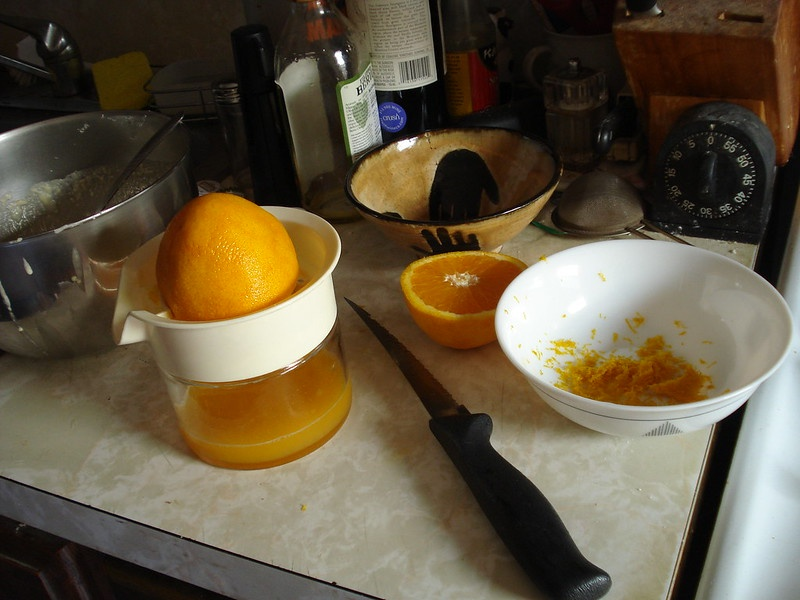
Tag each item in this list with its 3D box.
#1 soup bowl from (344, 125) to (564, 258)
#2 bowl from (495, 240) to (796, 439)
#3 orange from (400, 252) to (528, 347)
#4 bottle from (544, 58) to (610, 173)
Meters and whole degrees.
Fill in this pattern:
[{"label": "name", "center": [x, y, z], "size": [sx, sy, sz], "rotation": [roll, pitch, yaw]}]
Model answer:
[{"label": "soup bowl", "center": [0.069, -0.131, 0.821], "size": [0.258, 0.117, 0.188], "rotation": [1, 32, 14]}, {"label": "bowl", "center": [0.249, 0.018, 0.608], "size": [0.228, 0.085, 0.230], "rotation": [-8, 38, 6]}, {"label": "orange", "center": [0.067, 0.011, 0.780], "size": [0.156, 0.090, 0.152], "rotation": [11, -15, -19]}, {"label": "bottle", "center": [0.268, -0.289, 1.000], "size": [0.103, 0.157, 0.103], "rotation": [-3, 27, 2]}]
